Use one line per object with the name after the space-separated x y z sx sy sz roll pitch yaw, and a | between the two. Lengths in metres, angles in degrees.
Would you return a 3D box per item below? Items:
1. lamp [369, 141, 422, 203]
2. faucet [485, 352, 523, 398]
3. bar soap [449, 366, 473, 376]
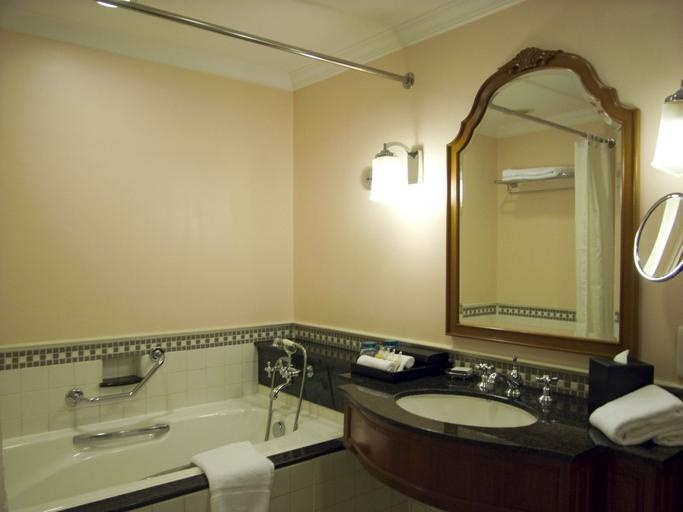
0.342 -0.543 3.305 0.337 0.340 0.205 -2 3 -22 | lamp
0.786 0.614 2.588 0.243 0.167 0.085 -8 9 -27 | faucet
0.644 0.629 2.838 0.127 0.038 0.074 -2 -1 12 | bar soap
